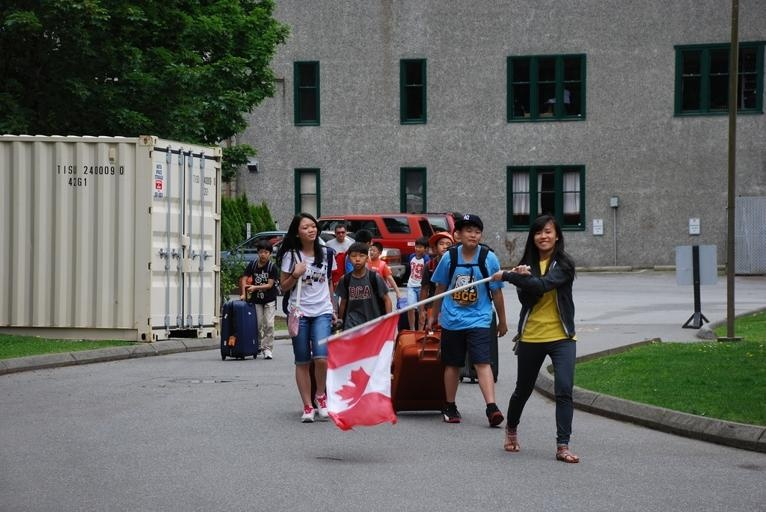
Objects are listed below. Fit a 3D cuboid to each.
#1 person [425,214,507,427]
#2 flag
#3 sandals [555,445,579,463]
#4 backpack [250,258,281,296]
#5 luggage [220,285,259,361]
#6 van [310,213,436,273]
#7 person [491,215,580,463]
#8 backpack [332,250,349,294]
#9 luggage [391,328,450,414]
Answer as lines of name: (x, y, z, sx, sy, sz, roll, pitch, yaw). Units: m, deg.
person: (1.137, 0.749, 11.937, 0.929, 2.864, 1.189, 0, -1, 8)
flag: (-0.251, 1.458, 10.985, 0.844, 1.446, 0.987, -1, -1, -9)
sandals: (2.064, 2.265, 10.256, 0.120, 0.231, 0.342, -3, 0, -45)
backpack: (-2.241, 0.397, 16.851, 0.650, 0.872, 0.423, -1, 1, -5)
luggage: (-2.757, 1.401, 17.110, 0.541, 1.103, 0.684, -2, -2, 22)
van: (0.124, -0.838, 33.349, 5.996, 2.854, 2.660, 0, 0, 0)
person: (1.756, 0.937, 10.522, 0.887, 2.756, 0.969, 0, -1, 3)
backpack: (-0.680, 0.274, 14.114, 0.303, 0.645, 0.446, -2, -16, 13)
luggage: (0.505, 1.565, 12.450, 0.920, 1.070, 0.798, 0, 1, 2)
